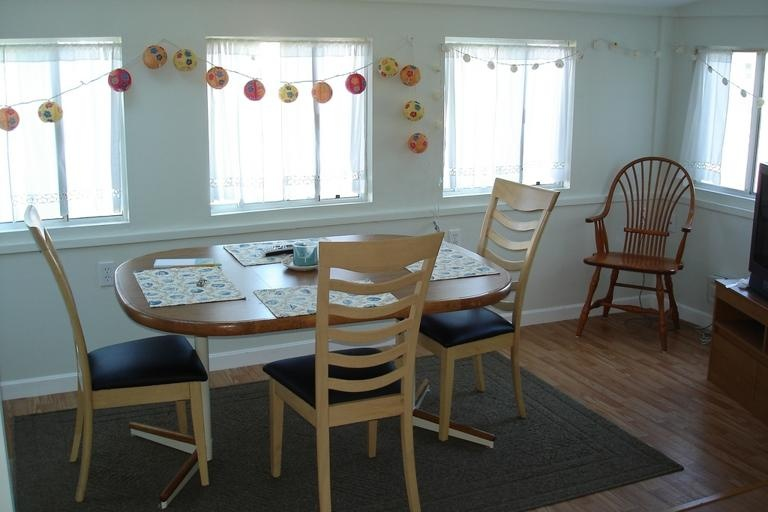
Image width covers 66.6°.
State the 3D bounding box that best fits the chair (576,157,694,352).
[{"bbox_3d":[2.108,-0.107,4.865,0.819,1.382,1.128,9,19,27],"label":"chair"}]

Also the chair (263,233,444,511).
[{"bbox_3d":[-0.176,0.546,2.930,0.861,1.441,0.770,-3,18,-9],"label":"chair"}]

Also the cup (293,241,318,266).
[{"bbox_3d":[-0.444,-0.016,3.299,0.128,0.115,0.164,-1,14,-12],"label":"cup"}]
